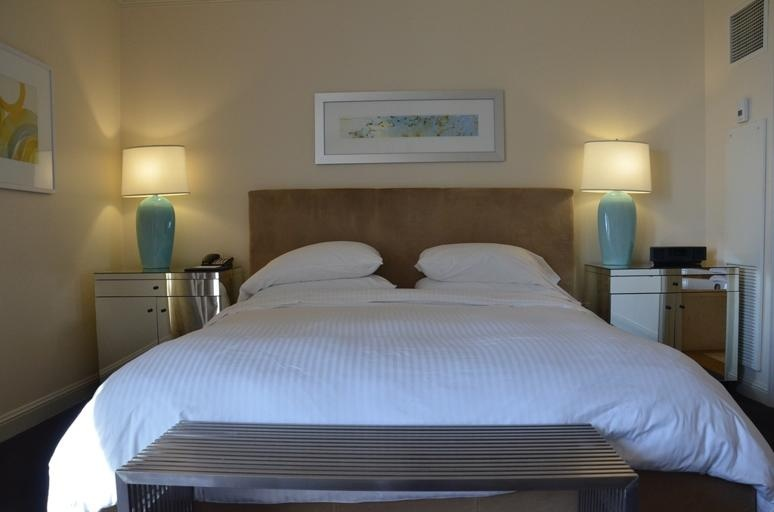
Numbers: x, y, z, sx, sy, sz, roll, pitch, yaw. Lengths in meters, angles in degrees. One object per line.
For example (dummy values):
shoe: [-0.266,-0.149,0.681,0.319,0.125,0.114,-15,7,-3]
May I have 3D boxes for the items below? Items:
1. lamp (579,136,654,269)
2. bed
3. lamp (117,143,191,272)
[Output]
lamp: [1.861,-0.429,4.803,0.549,1.030,0.332,-1,3,8]
bed: [0.308,0.435,4.078,2.190,1.519,2.320,-1,2,2]
lamp: [-1.936,-0.409,4.883,0.542,1.058,0.339,-1,3,-10]
